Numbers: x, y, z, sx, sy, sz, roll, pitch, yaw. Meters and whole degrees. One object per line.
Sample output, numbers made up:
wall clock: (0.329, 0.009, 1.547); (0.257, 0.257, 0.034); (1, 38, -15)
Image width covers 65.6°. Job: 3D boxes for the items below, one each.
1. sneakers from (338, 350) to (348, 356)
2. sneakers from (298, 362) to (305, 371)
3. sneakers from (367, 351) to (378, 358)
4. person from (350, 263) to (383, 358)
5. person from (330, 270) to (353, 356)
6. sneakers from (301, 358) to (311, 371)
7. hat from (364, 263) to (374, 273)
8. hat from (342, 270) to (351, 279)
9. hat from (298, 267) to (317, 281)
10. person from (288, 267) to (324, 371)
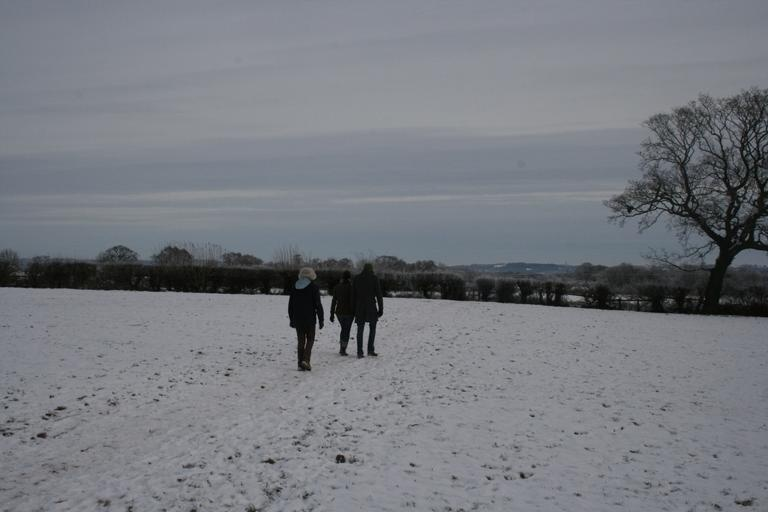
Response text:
sneakers: (-1.127, 2.726, 16.931); (0.239, 0.238, 0.117); (-10, 13, -33)
sneakers: (-2.128, 2.866, 15.507); (0.156, 0.289, 0.197); (1, 4, -42)
sneakers: (-0.315, 2.770, 16.806); (0.246, 0.109, 0.120); (-2, 0, -1)
person: (-0.480, 1.523, 16.885); (0.805, 2.739, 1.100); (1, 9, -3)
person: (-1.189, 1.588, 17.044); (0.609, 2.469, 1.007); (1, 9, -4)
sneakers: (-1.961, 2.820, 15.479); (0.140, 0.224, 0.337); (-5, -42, 14)
hat: (-0.427, 0.309, 16.541); (0.218, 0.233, 0.223); (3, 1, 30)
hat: (-1.032, 0.504, 16.580); (0.208, 0.227, 0.236); (2, -4, -9)
hat: (-1.979, 0.456, 15.614); (0.368, 0.289, 0.381); (2, -8, 30)
person: (-2.013, 1.624, 15.581); (0.857, 2.634, 0.877); (0, 9, -9)
